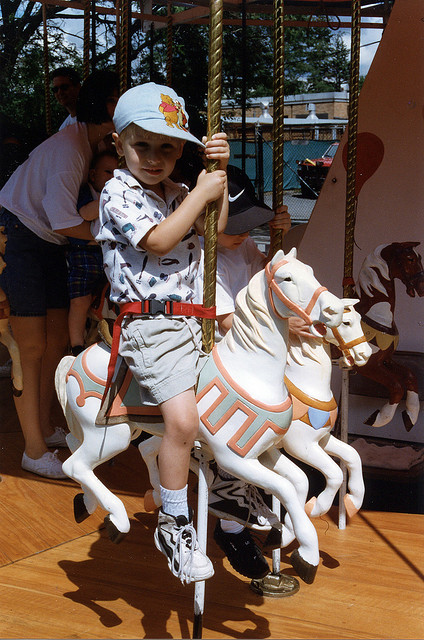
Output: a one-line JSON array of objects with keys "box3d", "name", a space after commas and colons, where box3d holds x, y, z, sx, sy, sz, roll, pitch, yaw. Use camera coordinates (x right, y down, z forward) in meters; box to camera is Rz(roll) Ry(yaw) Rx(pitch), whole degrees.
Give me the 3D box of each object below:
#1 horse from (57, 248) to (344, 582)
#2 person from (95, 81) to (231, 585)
[{"box3d": [-0.056, 0.213, 1.904, 0.973, 0.826, 0.325, 6, 9, 18], "name": "horse"}, {"box3d": [-0.093, 0.006, 1.791, 0.336, 1.312, 0.427, -3, 8, -36], "name": "person"}]
